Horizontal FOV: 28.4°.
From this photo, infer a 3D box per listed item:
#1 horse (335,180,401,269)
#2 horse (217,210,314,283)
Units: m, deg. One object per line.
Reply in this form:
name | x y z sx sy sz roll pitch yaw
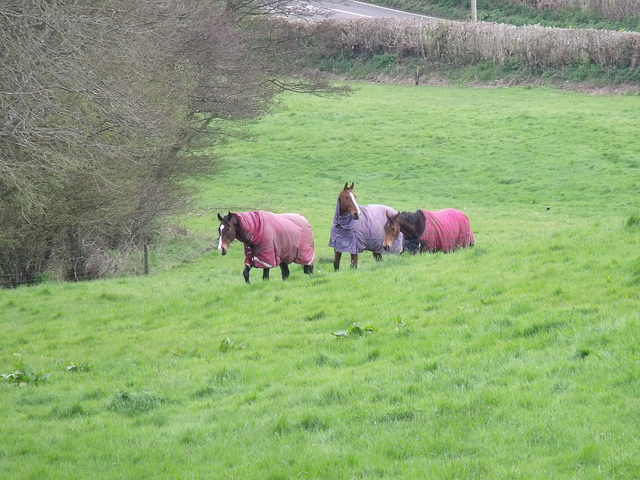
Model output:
horse | 1.570 -0.794 54.628 2.078 4.050 2.216 -7 11 -31
horse | -2.122 0.215 52.721 4.115 3.304 1.298 -13 11 -36
